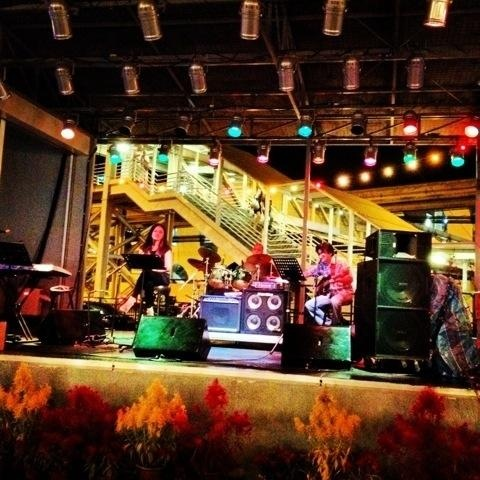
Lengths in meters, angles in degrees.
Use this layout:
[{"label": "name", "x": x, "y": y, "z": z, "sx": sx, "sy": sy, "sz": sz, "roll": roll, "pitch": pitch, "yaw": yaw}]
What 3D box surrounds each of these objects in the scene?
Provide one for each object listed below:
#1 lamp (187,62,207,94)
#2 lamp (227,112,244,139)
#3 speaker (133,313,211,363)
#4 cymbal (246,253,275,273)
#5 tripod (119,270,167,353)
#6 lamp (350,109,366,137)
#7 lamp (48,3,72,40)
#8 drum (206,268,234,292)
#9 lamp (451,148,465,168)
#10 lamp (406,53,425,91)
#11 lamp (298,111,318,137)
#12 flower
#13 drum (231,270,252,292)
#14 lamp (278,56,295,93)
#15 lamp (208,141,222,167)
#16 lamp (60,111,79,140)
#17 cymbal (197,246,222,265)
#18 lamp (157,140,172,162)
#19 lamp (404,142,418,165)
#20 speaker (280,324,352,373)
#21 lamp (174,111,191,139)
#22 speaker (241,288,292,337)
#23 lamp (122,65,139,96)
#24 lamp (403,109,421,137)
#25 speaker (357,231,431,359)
[{"label": "lamp", "x": -0.538, "y": -2.186, "z": 7.573, "sx": 0.320, "sy": 0.297, "sz": 0.438, "roll": -2, "pitch": -46, "yaw": 4}, {"label": "lamp", "x": -0.059, "y": -1.755, "z": 8.644, "sx": 0.203, "sy": 0.363, "sz": 0.236, "roll": 4, "pitch": -8, "yaw": 2}, {"label": "speaker", "x": -0.671, "y": 0.979, "z": 5.873, "sx": 0.737, "sy": 0.399, "sz": 0.583, "roll": 1, "pitch": 8, "yaw": 11}, {"label": "cymbal", "x": 0.290, "y": 0.314, "z": 8.635, "sx": 0.421, "sy": 0.292, "sz": 0.638, "roll": 3, "pitch": -8, "yaw": 1}, {"label": "tripod", "x": -1.403, "y": 1.061, "z": 7.692, "sx": 0.435, "sy": 0.726, "sz": 0.616, "roll": 17, "pitch": -2, "yaw": -18}, {"label": "lamp", "x": 1.733, "y": -1.706, "z": 8.284, "sx": 0.219, "sy": 0.389, "sz": 0.340, "roll": 2, "pitch": -8, "yaw": 10}, {"label": "lamp", "x": -2.051, "y": -2.474, "z": 6.427, "sx": 0.272, "sy": 0.345, "sz": 0.268, "roll": 5, "pitch": -8, "yaw": -7}, {"label": "drum", "x": -0.325, "y": 0.613, "z": 8.700, "sx": 0.398, "sy": 0.352, "sz": 0.366, "roll": 0, "pitch": -7, "yaw": 21}, {"label": "lamp", "x": 3.511, "y": -1.305, "z": 9.162, "sx": 0.190, "sy": 0.226, "sz": 0.236, "roll": 0, "pitch": -9, "yaw": 26}, {"label": "lamp", "x": 2.174, "y": -2.064, "z": 7.042, "sx": 0.197, "sy": 0.356, "sz": 0.215, "roll": 2, "pitch": -8, "yaw": 11}, {"label": "lamp", "x": 0.998, "y": -1.732, "z": 8.485, "sx": 0.232, "sy": 0.402, "sz": 0.331, "roll": 3, "pitch": -8, "yaw": 5}, {"label": "flower", "x": -0.728, "y": 1.520, "z": 4.740, "sx": 0.580, "sy": 0.644, "sz": 0.288, "roll": 1, "pitch": -9, "yaw": 20}, {"label": "drum", "x": 0.051, "y": 0.630, "z": 8.547, "sx": 0.304, "sy": 0.251, "sz": 0.240, "roll": 20, "pitch": -13, "yaw": 18}, {"label": "lamp", "x": 0.560, "y": -2.089, "z": 7.303, "sx": 0.303, "sy": 0.471, "sz": 0.288, "roll": 1, "pitch": -5, "yaw": -2}, {"label": "lamp", "x": -0.429, "y": -1.444, "z": 9.780, "sx": 0.194, "sy": 0.408, "sz": 0.542, "roll": 5, "pitch": -8, "yaw": -4}, {"label": "lamp", "x": -2.558, "y": -1.697, "z": 8.542, "sx": 0.210, "sy": 0.382, "sz": 0.189, "roll": 8, "pitch": -9, "yaw": -29}, {"label": "cymbal", "x": -0.450, "y": 0.205, "z": 8.910, "sx": 0.287, "sy": 0.073, "sz": 0.290, "roll": -16, "pitch": -52, "yaw": 44}, {"label": "lamp", "x": -1.292, "y": -1.472, "z": 9.651, "sx": 0.190, "sy": 0.332, "sz": 0.318, "roll": 5, "pitch": -8, "yaw": -8}, {"label": "lamp", "x": 2.715, "y": -1.376, "z": 9.081, "sx": 0.183, "sy": 0.294, "sz": 0.252, "roll": 2, "pitch": -8, "yaw": 13}, {"label": "speaker", "x": 0.884, "y": 1.033, "z": 5.892, "sx": 0.366, "sy": 0.424, "sz": 0.661, "roll": 20, "pitch": -12, "yaw": 2}, {"label": "lamp", "x": -0.877, "y": -1.812, "z": 8.882, "sx": 0.198, "sy": 0.470, "sz": 0.459, "roll": 4, "pitch": -8, "yaw": -2}, {"label": "speaker", "x": 0.277, "y": 1.068, "z": 8.470, "sx": 0.762, "sy": 0.643, "sz": 0.396, "roll": 7, "pitch": -5, "yaw": -31}, {"label": "lamp", "x": -1.471, "y": -2.146, "z": 7.674, "sx": 0.220, "sy": 0.322, "sz": 0.446, "roll": 5, "pitch": -8, "yaw": -8}, {"label": "lamp", "x": 2.530, "y": -1.671, "z": 8.379, "sx": 0.227, "sy": 0.390, "sz": 0.644, "roll": 1, "pitch": -8, "yaw": 18}, {"label": "speaker", "x": 1.567, "y": 0.592, "z": 6.093, "sx": 0.841, "sy": 1.286, "sz": 0.887, "roll": 2, "pitch": -7, "yaw": 1}]
